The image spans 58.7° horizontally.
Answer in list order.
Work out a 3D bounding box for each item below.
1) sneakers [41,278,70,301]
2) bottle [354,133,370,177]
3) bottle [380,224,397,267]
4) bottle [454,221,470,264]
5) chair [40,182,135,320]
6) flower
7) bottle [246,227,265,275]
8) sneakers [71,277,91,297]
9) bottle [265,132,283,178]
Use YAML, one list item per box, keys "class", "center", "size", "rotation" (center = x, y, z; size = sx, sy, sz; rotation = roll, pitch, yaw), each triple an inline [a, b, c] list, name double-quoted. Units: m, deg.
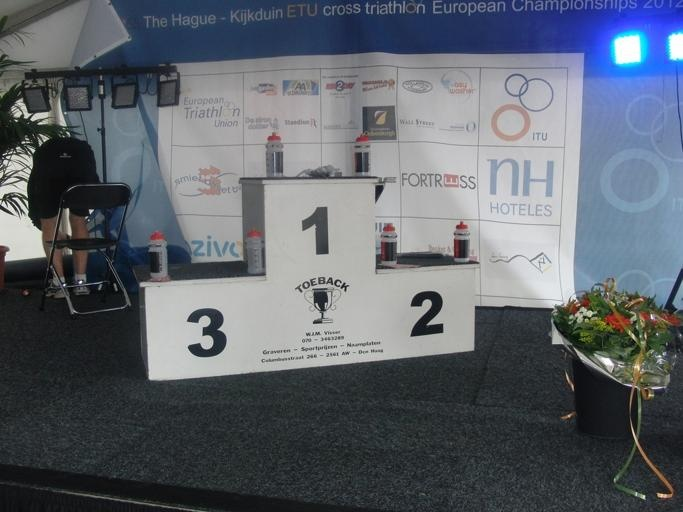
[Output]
- class: "sneakers"
  center: [-2.734, 0.326, 5.854]
  size: [0.216, 0.311, 0.631]
  rotation: [-2, 5, -28]
- class: "bottle"
  center: [0.164, -0.772, 4.596]
  size: [0.095, 0.291, 0.193]
  rotation: [2, 15, 8]
- class: "bottle"
  center: [0.353, -0.094, 4.496]
  size: [0.107, 0.307, 0.114]
  rotation: [0, 14, 0]
- class: "bottle"
  center: [0.915, -0.115, 4.603]
  size: [0.111, 0.300, 0.116]
  rotation: [0, 14, 0]
- class: "chair"
  center: [-2.092, -0.090, 5.066]
  size: [0.540, 1.011, 0.747]
  rotation: [4, 4, -2]
- class: "flower"
  center: [1.512, 0.657, 3.498]
  size: [0.740, 0.700, 0.938]
  rotation: [5, 17, 14]
- class: "bottle"
  center: [-0.595, -0.035, 4.273]
  size: [0.120, 0.291, 0.199]
  rotation: [-3, 15, -13]
- class: "sneakers"
  center: [-2.524, 0.266, 5.979]
  size: [0.204, 0.232, 0.510]
  rotation: [0, 0, -27]
- class: "bottle"
  center: [-0.506, -0.787, 4.683]
  size: [0.164, 0.333, 0.181]
  rotation: [-2, 6, -10]
